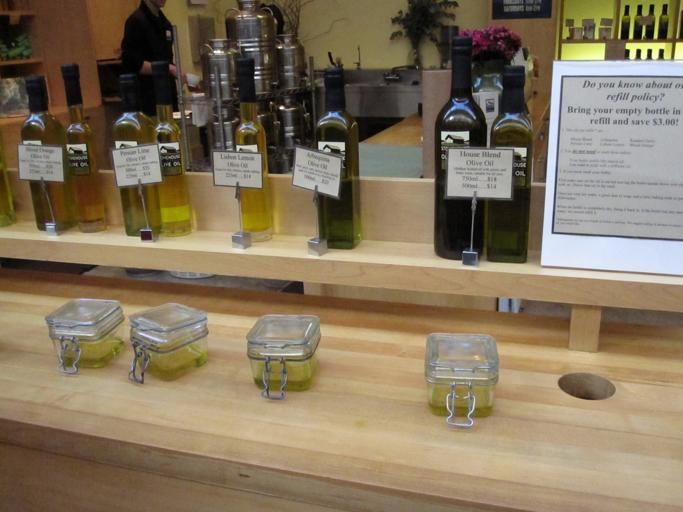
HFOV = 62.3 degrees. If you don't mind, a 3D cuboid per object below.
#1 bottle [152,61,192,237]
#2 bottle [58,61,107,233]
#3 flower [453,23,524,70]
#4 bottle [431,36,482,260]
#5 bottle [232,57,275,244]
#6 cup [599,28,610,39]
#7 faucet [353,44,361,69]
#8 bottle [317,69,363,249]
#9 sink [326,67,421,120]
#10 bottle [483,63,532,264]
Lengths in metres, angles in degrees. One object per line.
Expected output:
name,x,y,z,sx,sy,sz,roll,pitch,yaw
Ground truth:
bottle,-0.464,-0.272,1.492,0.080,0.452,0.055,-9,21,-19
bottle,-0.736,-0.297,1.575,0.085,0.456,0.178,-10,21,-22
flower,0.476,-0.652,1.763,0.180,0.096,0.173,-11,-5,-13
bottle,0.260,-0.228,1.264,0.121,0.492,0.108,3,20,16
bottle,-0.240,-0.271,1.471,0.089,0.465,0.179,-5,19,-6
cup,2.685,-2.291,5.785,0.112,0.101,0.050,9,22,28
faucet,0.194,-2.508,7.096,0.088,0.283,0.222,-3,19,-3
bottle,-0.011,-0.241,1.408,0.106,0.435,0.205,-2,19,1
sink,0.262,-1.690,6.143,1.089,0.651,0.554,-4,14,-13
bottle,0.378,-0.195,1.246,0.111,0.429,0.083,-2,19,1
